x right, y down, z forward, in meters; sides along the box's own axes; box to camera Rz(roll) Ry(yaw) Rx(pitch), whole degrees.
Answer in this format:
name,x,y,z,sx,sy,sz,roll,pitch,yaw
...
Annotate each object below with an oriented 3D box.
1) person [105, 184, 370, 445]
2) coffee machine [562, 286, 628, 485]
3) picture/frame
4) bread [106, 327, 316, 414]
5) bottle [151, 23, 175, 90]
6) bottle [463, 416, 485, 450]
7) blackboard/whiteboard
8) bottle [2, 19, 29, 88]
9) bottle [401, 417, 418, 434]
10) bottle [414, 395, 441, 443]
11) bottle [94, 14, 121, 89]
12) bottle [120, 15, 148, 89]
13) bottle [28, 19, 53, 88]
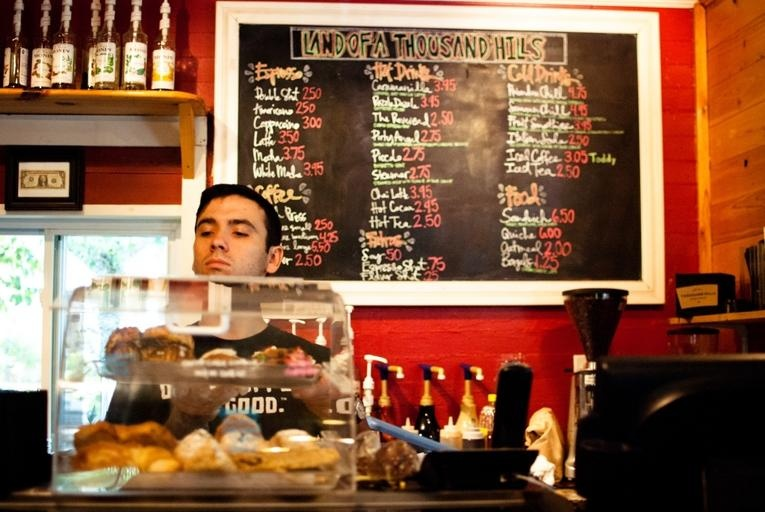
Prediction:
name,x,y,z,sx,sy,sz,roll,pitch,yaw
person,-0.559,0.193,2.885,1.193,0.906,0.667,1,-16,-2
coffee machine,0.898,0.565,3.357,0.344,0.835,0.328,4,-3,6
picture/frame,-1.526,-0.346,3.561,0.343,0.252,0.032,0,-6,-3
bread,-0.503,0.344,2.469,0.675,0.269,0.381,3,-5,-12
bottle,-0.952,-0.861,3.471,0.101,0.315,0.159,5,-6,-16
bottle,0.376,0.756,3.348,0.091,0.086,0.089,-3,-6,36
blackboard/whiteboard,0.187,-0.432,3.593,1.711,0.988,0.037,0,-10,-5
bottle,-1.600,-0.887,3.497,0.101,0.334,0.219,6,-7,-30
bottle,0.116,0.746,3.490,0.100,0.086,0.091,0,-14,3
bottle,0.196,0.710,3.494,0.111,0.184,0.173,2,-6,2
bottle,-1.200,-0.890,3.490,0.109,0.364,0.206,5,-6,-19
bottle,-1.086,-0.901,3.511,0.113,0.376,0.222,5,-6,-17
bottle,-1.473,-0.874,3.452,0.087,0.339,0.198,6,-7,-24
